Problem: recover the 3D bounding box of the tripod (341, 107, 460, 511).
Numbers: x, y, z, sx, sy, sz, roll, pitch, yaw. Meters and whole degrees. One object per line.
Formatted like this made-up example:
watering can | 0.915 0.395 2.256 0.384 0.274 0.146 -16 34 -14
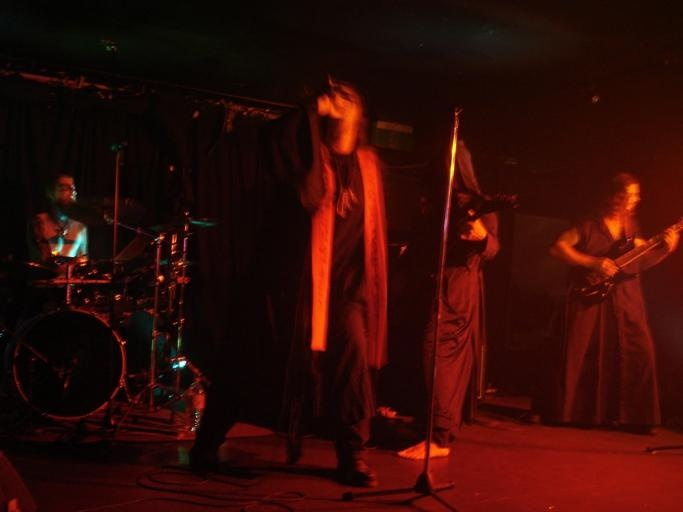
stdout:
tripod | 0.600 0.320 5.145 0.780 2.873 1.123 4 9 9
